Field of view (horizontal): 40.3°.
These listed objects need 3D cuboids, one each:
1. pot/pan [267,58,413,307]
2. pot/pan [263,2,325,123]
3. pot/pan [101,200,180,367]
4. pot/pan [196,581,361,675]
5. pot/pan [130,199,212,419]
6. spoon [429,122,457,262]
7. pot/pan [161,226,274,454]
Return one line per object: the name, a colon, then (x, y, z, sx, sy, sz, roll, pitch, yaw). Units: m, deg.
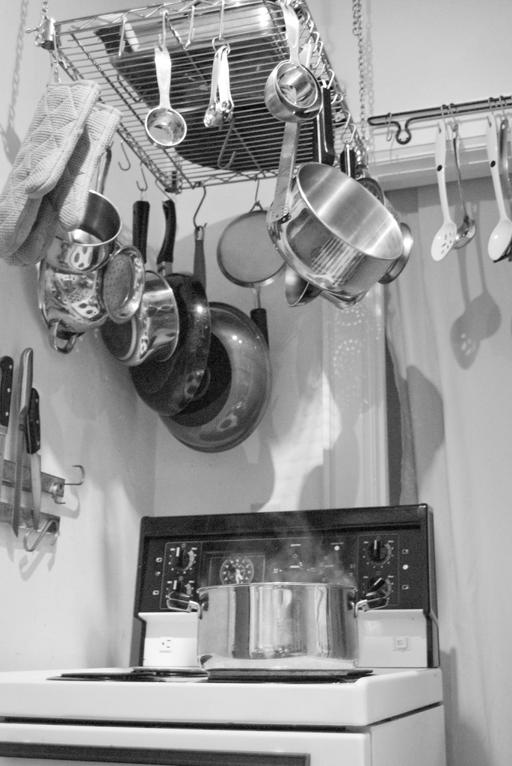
pot/pan: (0.082, -0.247, 1.069, 0.199, 0.393, 0.124, -7, -8, -42)
pot/pan: (0.051, -0.465, 1.008, 0.055, 0.233, 0.044, 7, -26, -16)
pot/pan: (-0.233, -0.179, 1.359, 0.091, 0.323, 0.141, 2, -13, -25)
pot/pan: (0.028, 0.322, 0.896, 0.209, 0.112, 0.217, 2, -23, -5)
pot/pan: (-0.152, -0.149, 1.392, 0.050, 0.385, 0.227, 3, -9, -24)
spoon: (0.396, -0.405, 1.503, 0.059, 0.279, 0.283, -7, 7, 17)
pot/pan: (-0.072, -0.065, 1.512, 0.057, 0.425, 0.271, 2, -10, -39)
